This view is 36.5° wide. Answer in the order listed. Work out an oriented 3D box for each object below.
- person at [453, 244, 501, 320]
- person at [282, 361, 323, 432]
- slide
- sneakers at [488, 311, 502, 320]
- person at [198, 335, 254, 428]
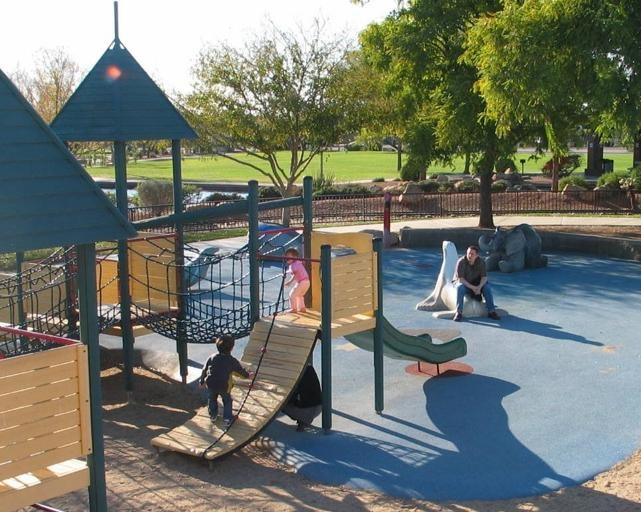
[{"bbox_3d":[2.881,0.512,18.266,0.824,1.427,0.804,-1,7,5],"label":"person"},{"bbox_3d":[-0.268,2.058,13.981,0.572,0.920,0.313,-2,7,-3],"label":"person"},{"bbox_3d":[1.349,1.334,15.221,1.869,0.879,0.619,-5,7,-24],"label":"slide"},{"bbox_3d":[3.251,1.142,18.338,0.102,0.117,0.297,-10,7,-27],"label":"sneakers"},{"bbox_3d":[-1.309,1.721,13.391,0.678,1.200,0.428,-3,7,-7],"label":"person"}]
